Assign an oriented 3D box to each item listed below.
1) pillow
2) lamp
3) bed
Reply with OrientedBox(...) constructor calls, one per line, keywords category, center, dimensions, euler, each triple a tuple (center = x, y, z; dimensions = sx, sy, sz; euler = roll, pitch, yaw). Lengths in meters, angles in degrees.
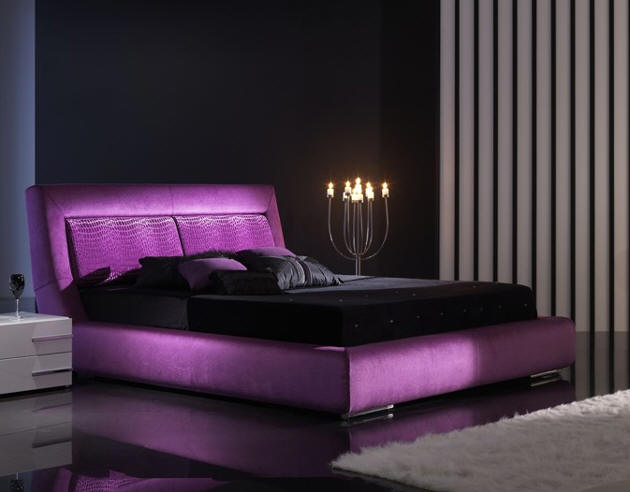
OrientedBox(category="pillow", center=(-0.440, 0.189, 4.036), dimensions=(0.669, 0.195, 0.522), euler=(0, 3, -37))
OrientedBox(category="lamp", center=(0.516, -0.013, 6.298), dimensions=(0.556, 1.278, 0.582), euler=(1, 4, -3))
OrientedBox(category="bed", center=(-0.326, 0.166, 4.095), dimensions=(3.468, 1.617, 1.822), euler=(-2, -3, 30))
